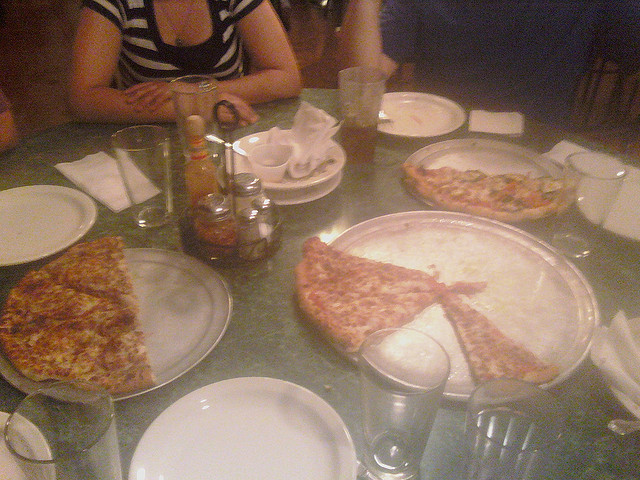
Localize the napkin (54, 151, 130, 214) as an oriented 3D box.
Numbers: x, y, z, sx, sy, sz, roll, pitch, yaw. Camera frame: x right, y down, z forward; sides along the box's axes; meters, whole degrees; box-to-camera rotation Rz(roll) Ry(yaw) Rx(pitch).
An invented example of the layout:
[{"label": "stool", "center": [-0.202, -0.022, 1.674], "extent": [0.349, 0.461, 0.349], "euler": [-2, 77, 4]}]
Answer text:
[{"label": "napkin", "center": [-0.437, -0.120, 1.125], "extent": [0.126, 0.021, 0.222], "euler": [-33, 54, -30]}]

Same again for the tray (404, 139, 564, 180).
[{"label": "tray", "center": [0.330, -0.168, 1.170], "extent": [0.276, 0.268, 0.025], "euler": [4, 81, -28]}]

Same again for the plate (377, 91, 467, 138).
[{"label": "plate", "center": [0.241, -0.289, 1.282], "extent": [0.183, 0.017, 0.162], "euler": [-19, 41, -19]}]

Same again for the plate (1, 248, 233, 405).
[{"label": "plate", "center": [-0.277, 0.114, 0.883], "extent": [0.260, 0.024, 0.222], "euler": [8, 37, 7]}]

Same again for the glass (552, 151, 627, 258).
[{"label": "glass", "center": [0.466, -0.054, 0.932], "extent": [0.115, 0.161, 0.108], "euler": [21, 48, 28]}]

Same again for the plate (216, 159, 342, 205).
[{"label": "plate", "center": [-0.066, -0.112, 1.047], "extent": [0.138, 0.016, 0.121], "euler": [-12, 34, -15]}]

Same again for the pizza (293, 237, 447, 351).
[{"label": "pizza", "center": [0.097, 0.095, 0.900], "extent": [0.029, 0.308, 0.184], "euler": [32, 76, 32]}]

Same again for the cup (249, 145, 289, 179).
[{"label": "cup", "center": [-0.086, -0.149, 1.113], "extent": [0.095, 0.050, 0.081], "euler": [-12, 42, -13]}]

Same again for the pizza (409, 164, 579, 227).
[{"label": "pizza", "center": [0.310, -0.084, 1.015], "extent": [0.190, 0.029, 0.145], "euler": [11, 35, 34]}]

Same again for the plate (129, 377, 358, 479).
[{"label": "plate", "center": [-0.091, 0.252, 0.720], "extent": [0.283, 0.056, 0.137], "euler": [2, 39, 3]}]

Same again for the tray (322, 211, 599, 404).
[{"label": "tray", "center": [0.238, 0.093, 0.918], "extent": [0.344, 0.023, 0.301], "euler": [10, 39, 13]}]

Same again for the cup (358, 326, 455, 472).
[{"label": "cup", "center": [0.112, 0.213, 0.709], "extent": [0.156, 0.180, 0.135], "euler": [6, 24, 13]}]

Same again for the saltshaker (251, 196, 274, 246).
[{"label": "saltshaker", "center": [-0.097, -0.031, 0.908], "extent": [0.042, 0.090, 0.035], "euler": [4, 45, 2]}]
